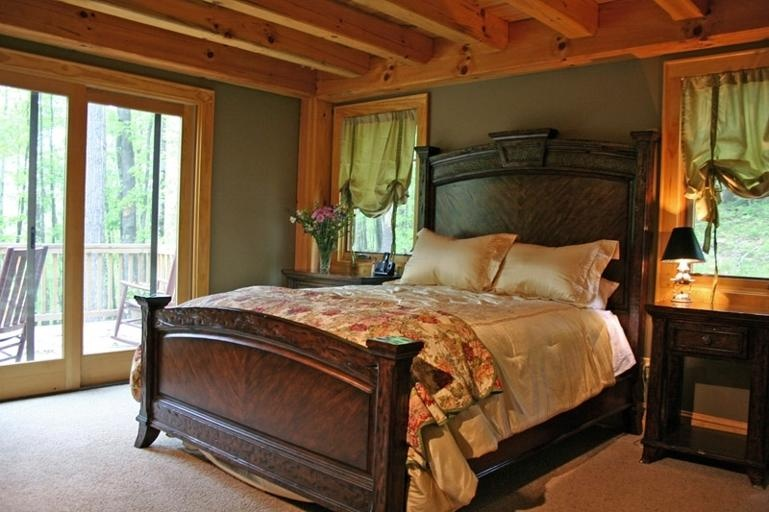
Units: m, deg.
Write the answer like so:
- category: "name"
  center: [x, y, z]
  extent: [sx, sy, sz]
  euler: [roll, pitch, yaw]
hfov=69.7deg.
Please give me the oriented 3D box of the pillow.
- category: "pillow"
  center: [1.045, 0.064, 4.750]
  extent: [1.714, 0.499, 0.439]
  euler: [6, 9, 28]

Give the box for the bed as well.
- category: "bed"
  center: [0.290, -0.045, 4.194]
  extent: [2.629, 2.183, 2.966]
  euler: [3, -4, 39]

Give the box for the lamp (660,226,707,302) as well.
- category: "lamp"
  center: [2.329, 0.055, 4.320]
  extent: [0.282, 0.570, 0.439]
  euler: [6, 10, 26]

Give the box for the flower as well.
- category: "flower"
  center: [-0.624, -0.170, 6.036]
  extent: [0.609, 0.669, 0.716]
  euler: [5, 3, 32]
